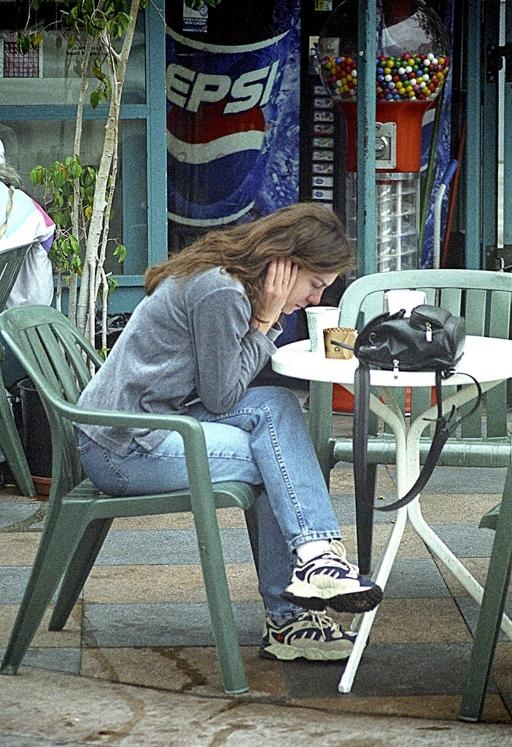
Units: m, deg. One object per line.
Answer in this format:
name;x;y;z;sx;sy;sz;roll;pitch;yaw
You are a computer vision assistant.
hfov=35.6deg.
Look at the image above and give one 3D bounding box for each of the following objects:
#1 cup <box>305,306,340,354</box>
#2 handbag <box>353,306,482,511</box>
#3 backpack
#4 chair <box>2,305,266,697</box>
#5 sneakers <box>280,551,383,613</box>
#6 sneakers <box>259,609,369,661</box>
cup;0.164;-0.116;2.027;0.120;0.132;0.119;-3;8;0
handbag;0.352;0.063;1.662;0.286;0.387;0.290;4;10;29
backpack;0.308;0.086;1.629;0.220;0.454;0.291;1;6;11
chair;-0.345;0.232;2.041;0.793;1.009;0.739;-1;1;6
sneakers;0.149;0.386;1.532;0.204;0.097;0.075;-11;-25;41
sneakers;0.131;0.595;1.870;0.263;0.174;0.095;0;1;2
